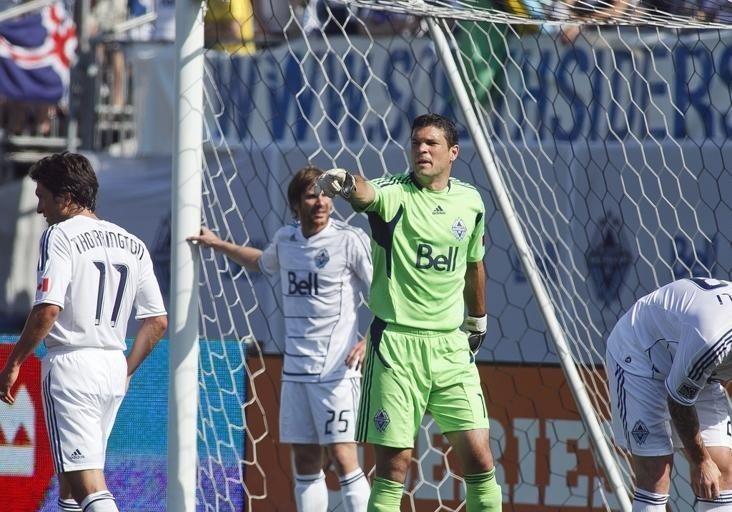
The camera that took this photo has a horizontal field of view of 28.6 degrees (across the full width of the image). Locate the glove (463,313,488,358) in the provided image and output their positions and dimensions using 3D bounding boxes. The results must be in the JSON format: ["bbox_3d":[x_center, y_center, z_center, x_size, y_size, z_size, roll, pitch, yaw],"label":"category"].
[{"bbox_3d":[0.732,0.516,10.199,0.153,0.141,0.383,-19,25,29],"label":"glove"}]

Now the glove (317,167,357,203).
[{"bbox_3d":[-0.197,-0.475,9.470,0.186,0.215,0.098,-18,32,15],"label":"glove"}]
